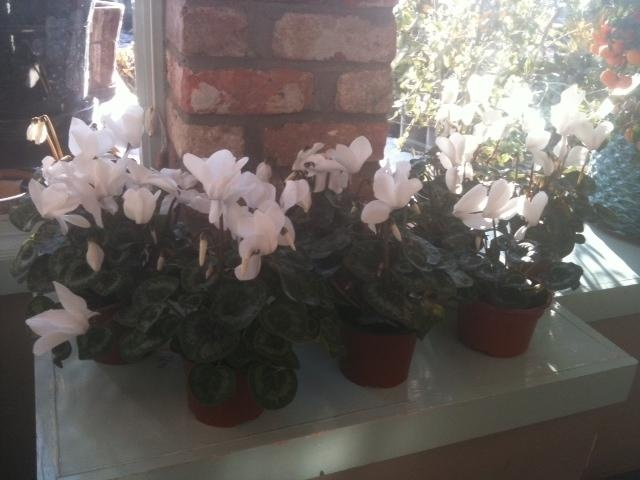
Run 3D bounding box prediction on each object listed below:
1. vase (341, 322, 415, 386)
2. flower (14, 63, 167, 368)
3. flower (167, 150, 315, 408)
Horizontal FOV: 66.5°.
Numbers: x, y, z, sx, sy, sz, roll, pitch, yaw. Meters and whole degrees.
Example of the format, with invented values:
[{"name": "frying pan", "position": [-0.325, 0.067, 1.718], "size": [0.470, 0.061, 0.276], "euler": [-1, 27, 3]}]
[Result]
[{"name": "vase", "position": [0.108, 0.212, 0.957], "size": [0.113, 0.124, 0.110], "euler": [-10, 16, -38]}, {"name": "flower", "position": [-0.439, -0.008, 0.924], "size": [0.245, 0.505, 0.406], "euler": [-11, 30, -31]}, {"name": "flower", "position": [-0.134, 0.060, 0.855], "size": [0.221, 0.462, 0.349], "euler": [1, 25, -10]}]
